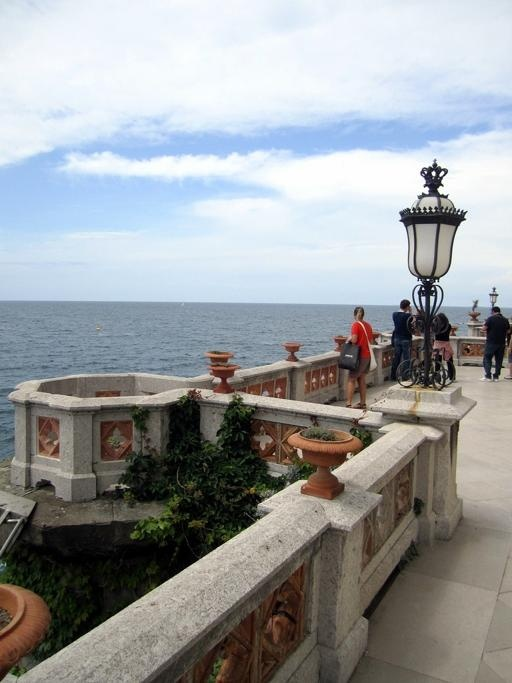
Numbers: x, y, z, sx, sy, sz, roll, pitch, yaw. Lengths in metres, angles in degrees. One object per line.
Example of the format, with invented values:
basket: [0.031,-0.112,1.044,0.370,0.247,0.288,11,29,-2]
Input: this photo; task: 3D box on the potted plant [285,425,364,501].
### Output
potted plant: [0.403,0.763,3.213,0.409,0.350,0.427,1,-3,40]

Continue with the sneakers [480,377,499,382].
sneakers: [6.901,1.149,15.489,0.482,0.203,0.176,4,2,10]

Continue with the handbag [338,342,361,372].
handbag: [1.606,0.254,9.023,0.337,0.489,0.308,6,5,11]

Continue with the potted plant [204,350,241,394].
potted plant: [-0.493,0.426,7.564,0.561,0.614,0.536,1,5,36]
